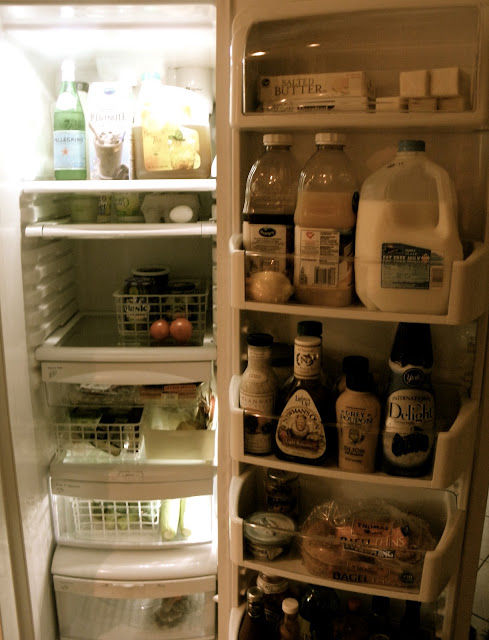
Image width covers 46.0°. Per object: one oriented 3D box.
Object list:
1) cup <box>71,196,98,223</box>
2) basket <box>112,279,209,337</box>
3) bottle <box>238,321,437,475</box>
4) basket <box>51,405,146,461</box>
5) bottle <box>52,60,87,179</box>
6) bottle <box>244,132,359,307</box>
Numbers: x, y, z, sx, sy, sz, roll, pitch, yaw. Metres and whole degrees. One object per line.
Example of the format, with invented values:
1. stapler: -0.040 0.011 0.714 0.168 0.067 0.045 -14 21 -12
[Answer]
1. cup: -0.415 -0.288 1.514 0.072 0.077 0.071 1 2 0
2. basket: -0.220 -0.042 1.556 0.185 0.097 0.186 1 21 1
3. bottle: 0.159 0.120 1.026 0.339 0.246 0.153 1 13 19
4. basket: -0.398 0.300 1.598 0.217 0.145 0.115 0 -4 -10
5. bottle: -0.414 -0.471 1.365 0.082 0.273 0.085 -3 12 1
6. bottle: 0.091 -0.173 0.978 0.196 0.284 0.156 -1 12 11
